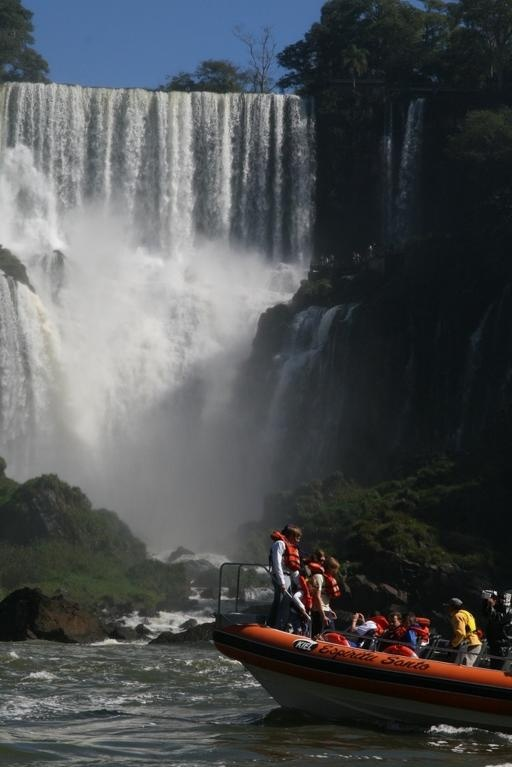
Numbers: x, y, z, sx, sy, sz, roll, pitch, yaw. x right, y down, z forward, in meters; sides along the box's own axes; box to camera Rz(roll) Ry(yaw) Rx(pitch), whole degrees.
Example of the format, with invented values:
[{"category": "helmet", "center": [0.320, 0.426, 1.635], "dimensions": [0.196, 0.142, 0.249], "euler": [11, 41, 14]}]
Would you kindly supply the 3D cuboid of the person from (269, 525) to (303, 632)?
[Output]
[{"category": "person", "center": [0.473, 3.156, 19.503], "dimensions": [0.621, 1.695, 1.134], "euler": [-7, 0, -1]}]
